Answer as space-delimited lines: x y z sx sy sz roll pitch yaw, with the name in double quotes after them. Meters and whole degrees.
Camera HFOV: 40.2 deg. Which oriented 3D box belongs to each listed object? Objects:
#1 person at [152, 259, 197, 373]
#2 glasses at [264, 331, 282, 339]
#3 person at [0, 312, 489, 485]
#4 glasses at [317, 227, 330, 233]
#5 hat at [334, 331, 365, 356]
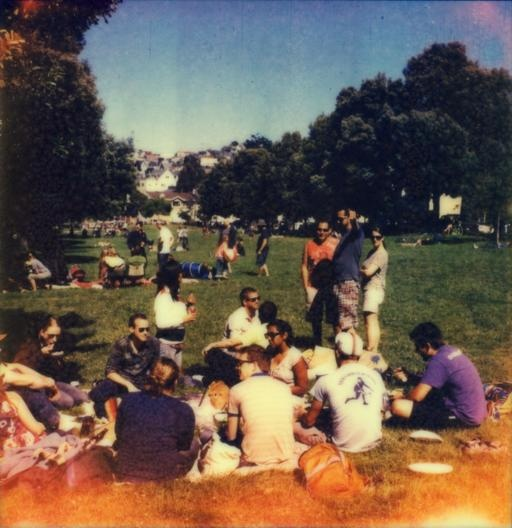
-1.246 0.823 10.636 0.468 1.630 0.686 -4 45 -3 "person"
0.211 0.869 8.618 0.147 0.057 0.144 11 -14 -40 "glasses"
0.352 1.497 7.755 3.736 1.759 0.881 3 6 -15 "person"
1.035 -0.543 10.858 0.188 0.081 0.225 5 7 3 "glasses"
1.074 0.933 8.195 0.300 0.162 0.471 5 33 -4 "hat"
